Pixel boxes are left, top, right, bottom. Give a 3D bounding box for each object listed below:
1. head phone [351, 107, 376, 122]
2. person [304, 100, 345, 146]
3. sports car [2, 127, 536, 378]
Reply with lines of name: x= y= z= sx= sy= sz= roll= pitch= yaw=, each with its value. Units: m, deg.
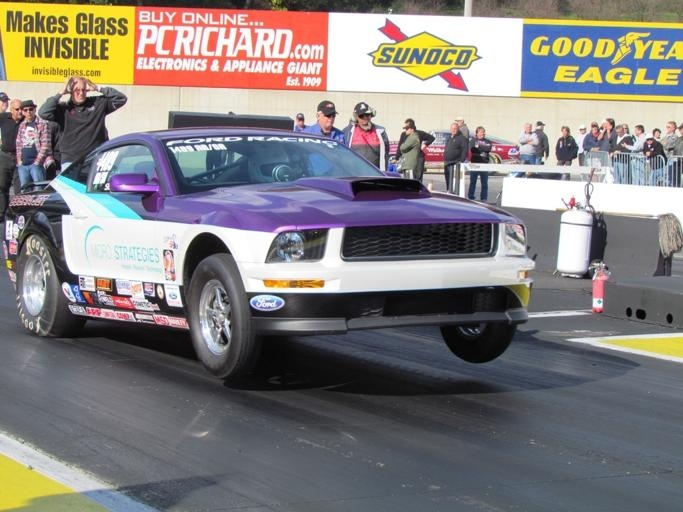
head phone: x=0.392 y=-2.361 z=11.629 sx=0.321 sy=0.197 sz=0.409 roll=-5 pitch=-2 yaw=-16
person: x=-0.251 y=-2.038 z=10.759 sx=0.811 sy=0.507 sz=0.508 roll=1 pitch=-6 yaw=-41
sports car: x=-1.161 y=-0.161 z=6.303 sx=2.313 sy=1.217 sz=4.601 roll=0 pitch=1 yaw=-41
